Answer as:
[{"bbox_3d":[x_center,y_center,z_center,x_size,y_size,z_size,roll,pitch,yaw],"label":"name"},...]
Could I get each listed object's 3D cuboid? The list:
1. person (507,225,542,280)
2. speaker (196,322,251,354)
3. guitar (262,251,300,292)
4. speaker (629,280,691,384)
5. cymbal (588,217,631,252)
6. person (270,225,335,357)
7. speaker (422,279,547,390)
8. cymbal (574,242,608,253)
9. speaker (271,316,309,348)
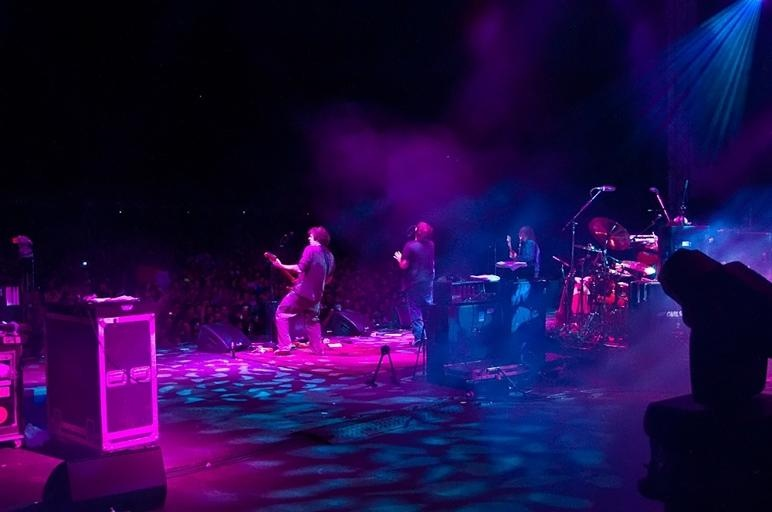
[{"bbox_3d":[2.142,0.056,8.699,0.413,1.063,0.375,2,18,16],"label":"person"},{"bbox_3d":[-2.583,1.322,8.902,0.543,0.345,0.549,-7,-8,22],"label":"speaker"},{"bbox_3d":[-2.148,0.321,11.260,1.049,0.276,0.348,39,6,31],"label":"guitar"},{"bbox_3d":[3.444,0.922,7.298,0.784,1.319,0.795,0,6,22],"label":"speaker"},{"bbox_3d":[3.824,-0.395,9.543,0.647,0.535,0.292,1,6,19],"label":"cymbal"},{"bbox_3d":[-1.300,0.506,8.704,0.933,1.909,0.855,-1,5,-7],"label":"person"},{"bbox_3d":[1.254,0.868,6.863,1.588,1.168,0.712,-5,7,-38],"label":"speaker"},{"bbox_3d":[3.549,-0.149,9.735,0.506,0.121,0.510,0,2,-2],"label":"cymbal"},{"bbox_3d":[-1.589,1.289,9.426,0.553,0.530,0.561,-21,-16,41],"label":"speaker"}]
